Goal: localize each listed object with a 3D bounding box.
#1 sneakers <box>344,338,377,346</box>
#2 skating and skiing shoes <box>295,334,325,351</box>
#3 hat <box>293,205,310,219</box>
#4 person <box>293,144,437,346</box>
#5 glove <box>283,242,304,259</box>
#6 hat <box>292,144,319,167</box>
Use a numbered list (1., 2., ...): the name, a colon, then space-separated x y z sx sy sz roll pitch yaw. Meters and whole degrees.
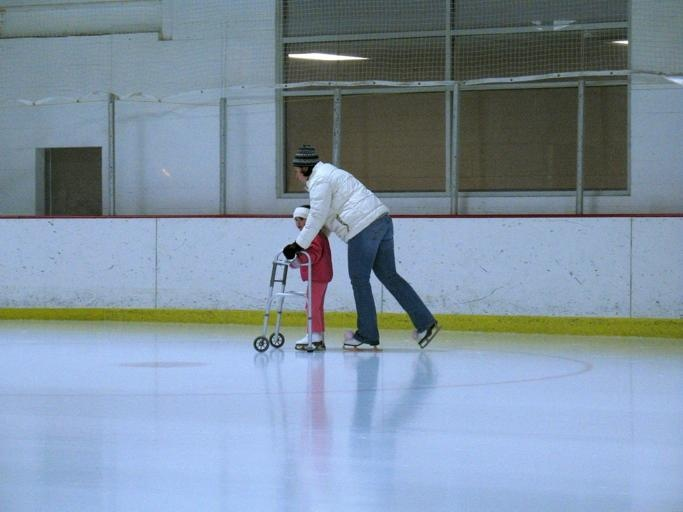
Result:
1. sneakers: 0.165 0.744 11.005 0.281 0.100 0.101 2 -1 12
2. skating and skiing shoes: -0.260 0.745 10.954 0.247 0.151 0.116 3 -8 -12
3. hat: -0.347 -0.370 11.057 0.099 0.096 0.133 3 2 15
4. person: 0.139 -0.044 10.921 1.242 1.719 0.418 -1 13 0
5. glove: -0.412 -0.033 10.795 0.159 0.117 0.071 -40 -7 -32
6. hat: -0.305 -0.828 10.982 0.236 0.165 0.234 -2 2 -14
